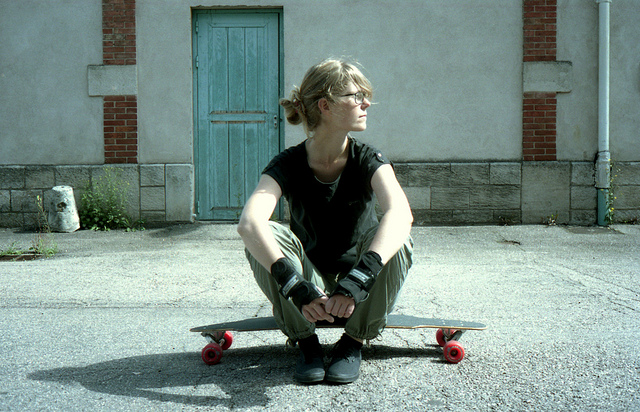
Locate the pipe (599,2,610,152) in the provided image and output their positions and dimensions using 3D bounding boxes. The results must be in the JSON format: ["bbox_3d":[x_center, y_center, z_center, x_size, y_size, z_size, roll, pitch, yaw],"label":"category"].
[{"bbox_3d":[4.517,-2.036,12.982,0.131,2.328,0.217,0,7,16],"label":"pipe"}]
